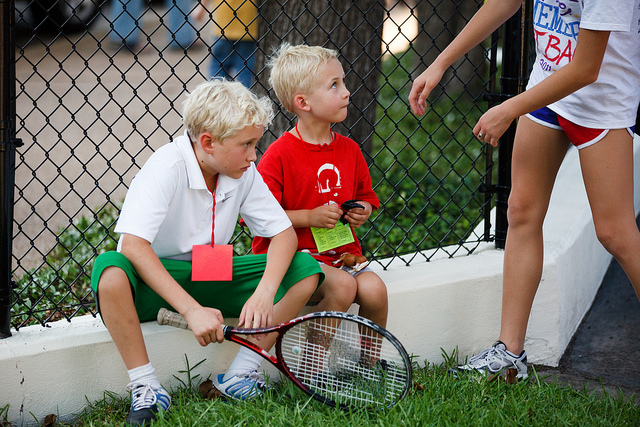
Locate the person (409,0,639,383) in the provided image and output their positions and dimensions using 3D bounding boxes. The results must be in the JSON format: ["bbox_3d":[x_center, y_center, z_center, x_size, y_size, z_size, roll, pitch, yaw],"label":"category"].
[{"bbox_3d":[1.247,-0.096,3.324,0.983,2.192,0.702,0,15,14],"label":"person"}]

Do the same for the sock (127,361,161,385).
[{"bbox_3d":[-0.921,0.843,3.057,0.130,0.128,0.109,-23,6,29],"label":"sock"}]
